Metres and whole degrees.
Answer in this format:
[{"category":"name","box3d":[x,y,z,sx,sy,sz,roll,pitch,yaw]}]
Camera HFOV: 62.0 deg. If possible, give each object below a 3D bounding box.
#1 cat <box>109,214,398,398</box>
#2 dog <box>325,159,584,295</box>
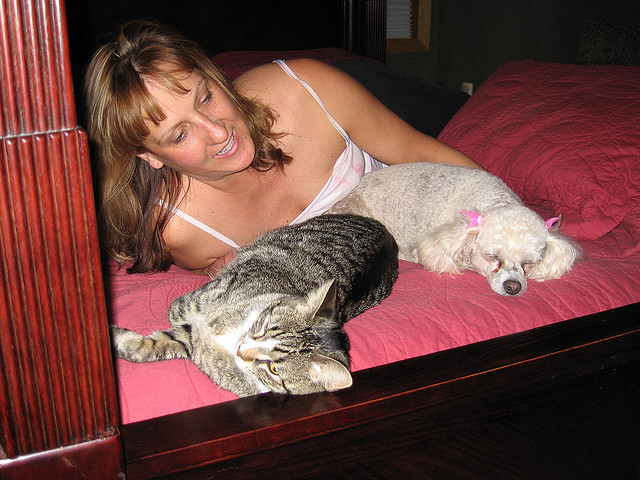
[{"category":"cat","box3d":[-0.121,0.101,1.449,0.598,0.211,0.720,8,27,15]},{"category":"dog","box3d":[0.423,-0.080,1.683,0.461,0.258,0.656,-30,37,-24]}]
